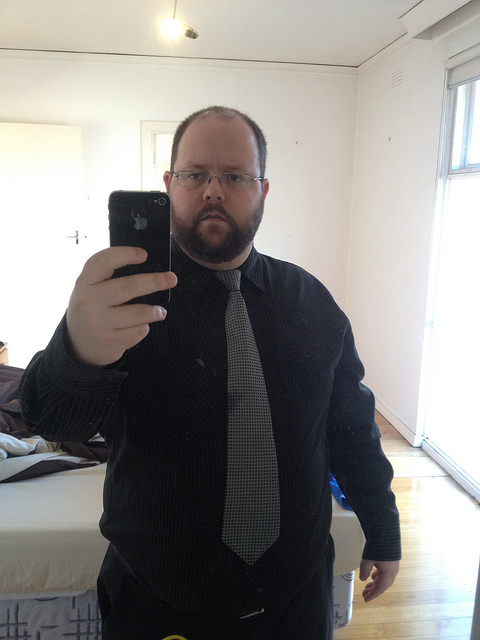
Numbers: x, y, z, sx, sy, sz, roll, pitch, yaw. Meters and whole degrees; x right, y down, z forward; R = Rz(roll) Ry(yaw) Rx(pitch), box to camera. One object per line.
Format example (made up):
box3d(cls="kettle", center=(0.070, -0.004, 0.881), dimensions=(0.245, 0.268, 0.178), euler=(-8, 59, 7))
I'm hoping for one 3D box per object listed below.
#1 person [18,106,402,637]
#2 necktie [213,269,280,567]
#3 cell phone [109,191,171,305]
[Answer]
box3d(cls="person", center=(-0.017, 0.099, 0.965), dimensions=(0.668, 0.930, 0.315), euler=(-7, 10, -36))
box3d(cls="necktie", center=(0.000, 0.146, 0.910), dimensions=(0.090, 0.430, 0.195), euler=(-2, 8, -10))
box3d(cls="cell phone", center=(-0.147, -0.121, 0.836), dimensions=(0.091, 0.178, 0.019), euler=(-2, 52, -9))
